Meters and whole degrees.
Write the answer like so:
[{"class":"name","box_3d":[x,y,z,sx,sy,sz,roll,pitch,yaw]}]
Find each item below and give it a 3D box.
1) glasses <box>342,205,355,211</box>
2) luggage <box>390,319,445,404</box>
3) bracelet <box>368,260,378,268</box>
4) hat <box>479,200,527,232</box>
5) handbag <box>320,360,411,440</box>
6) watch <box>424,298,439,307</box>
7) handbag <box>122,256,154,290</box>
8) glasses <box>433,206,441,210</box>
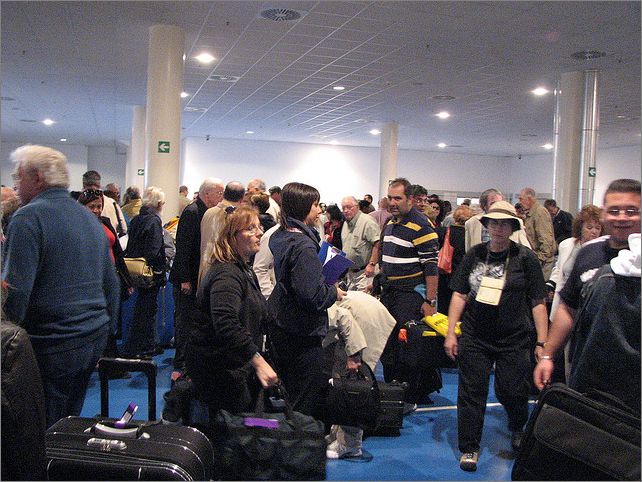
[{"class":"glasses","box_3d":[0.355,-0.426,6.722,0.114,0.126,0.102,-5,-8,20]},{"class":"luggage","box_3d":[0.936,1.021,4.511,0.444,0.563,0.395,-3,2,44]},{"class":"bracelet","box_3d":[0.603,0.273,6.066,0.085,0.059,0.204,4,5,9]},{"class":"hat","box_3d":[1.315,-0.201,3.856,0.326,0.150,0.302,11,-6,29]},{"class":"handbag","box_3d":[0.337,1.058,3.789,0.506,0.453,0.514,7,-8,4]},{"class":"watch","box_3d":[0.965,0.543,4.637,0.082,0.051,0.076,6,-17,-24]},{"class":"handbag","box_3d":[-1.924,0.271,5.515,0.179,0.288,0.318,-13,-11,-45]},{"class":"glasses","box_3d":[1.826,-0.514,8.228,0.073,0.067,0.023,2,-1,-7]}]
